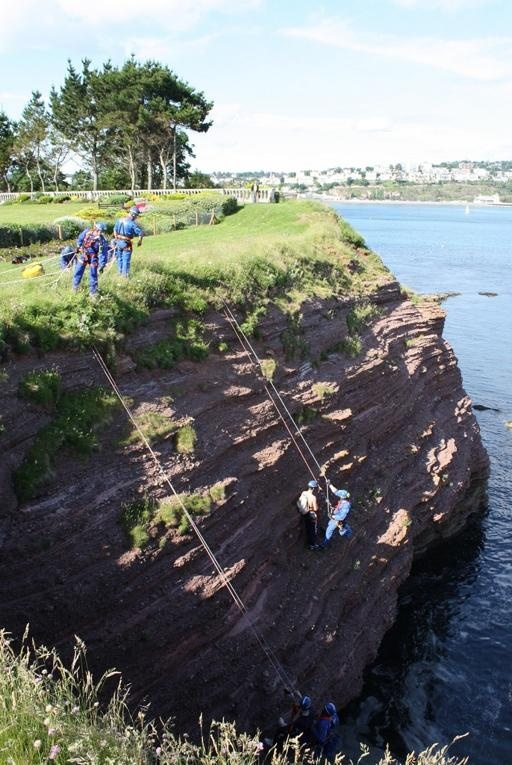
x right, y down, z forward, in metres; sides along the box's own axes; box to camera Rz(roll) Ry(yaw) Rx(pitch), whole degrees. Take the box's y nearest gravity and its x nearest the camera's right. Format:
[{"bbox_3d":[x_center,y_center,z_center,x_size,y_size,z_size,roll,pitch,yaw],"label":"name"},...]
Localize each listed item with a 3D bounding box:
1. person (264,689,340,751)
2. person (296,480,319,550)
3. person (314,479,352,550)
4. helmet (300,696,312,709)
[{"bbox_3d":[0.801,5.966,9.267,1.093,1.263,0.786,7,15,28],"label":"person"},{"bbox_3d":[1.312,3.119,13.270,0.508,1.899,1.343,1,14,7],"label":"person"},{"bbox_3d":[1.941,3.491,13.590,1.033,1.684,0.796,8,57,3],"label":"person"},{"bbox_3d":[0.838,5.533,9.077,0.182,0.257,0.247,8,-26,-9],"label":"helmet"}]
